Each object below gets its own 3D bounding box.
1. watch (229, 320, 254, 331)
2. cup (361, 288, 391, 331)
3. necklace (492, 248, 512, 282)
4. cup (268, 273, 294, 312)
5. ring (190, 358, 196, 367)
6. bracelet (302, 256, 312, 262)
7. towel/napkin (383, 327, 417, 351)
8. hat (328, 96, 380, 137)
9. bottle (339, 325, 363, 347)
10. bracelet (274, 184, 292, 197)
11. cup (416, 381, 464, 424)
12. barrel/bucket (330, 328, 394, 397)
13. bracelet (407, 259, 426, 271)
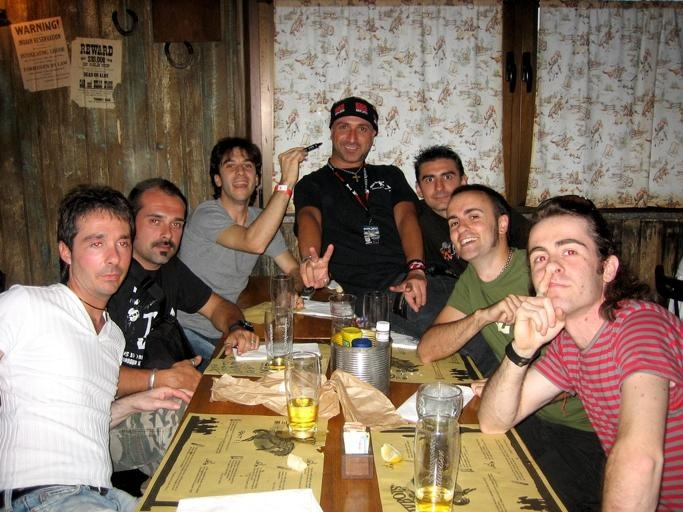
[{"bbox_3d":[-0.470,0.325,2.463,0.083,0.061,0.093,-27,2,1],"label":"watch"},{"bbox_3d":[0.135,0.211,2.080,0.143,0.215,0.131,1,2,0],"label":"cup"},{"bbox_3d":[0.791,0.039,2.520,0.021,0.128,0.101,34,0,-7],"label":"necklace"},{"bbox_3d":[-0.267,0.165,2.353,0.149,0.240,0.155,1,7,0],"label":"cup"},{"bbox_3d":[-0.638,0.456,2.253,0.029,0.008,0.029,14,17,-4],"label":"ring"},{"bbox_3d":[-0.199,0.012,2.951,0.058,0.056,0.058,2,1,2],"label":"bracelet"},{"bbox_3d":[0.260,0.366,2.312,0.134,0.031,0.126,7,7,-1],"label":"towel/napkin"},{"bbox_3d":[0.072,-0.970,3.647,0.260,0.162,0.264,12,16,36],"label":"hat"},{"bbox_3d":[0.031,0.293,1.952,0.064,0.055,0.065,1,7,6],"label":"bottle"},{"bbox_3d":[-0.334,-0.378,2.984,0.092,0.067,0.077,0,7,-6],"label":"bracelet"},{"bbox_3d":[0.334,0.451,1.747,0.142,0.153,0.142,-6,14,1],"label":"cup"},{"bbox_3d":[0.074,0.383,1.883,0.194,0.215,0.208,1,-2,0],"label":"barrel/bucket"},{"bbox_3d":[0.454,0.055,3.160,0.078,0.054,0.077,3,-3,-43],"label":"bracelet"}]
